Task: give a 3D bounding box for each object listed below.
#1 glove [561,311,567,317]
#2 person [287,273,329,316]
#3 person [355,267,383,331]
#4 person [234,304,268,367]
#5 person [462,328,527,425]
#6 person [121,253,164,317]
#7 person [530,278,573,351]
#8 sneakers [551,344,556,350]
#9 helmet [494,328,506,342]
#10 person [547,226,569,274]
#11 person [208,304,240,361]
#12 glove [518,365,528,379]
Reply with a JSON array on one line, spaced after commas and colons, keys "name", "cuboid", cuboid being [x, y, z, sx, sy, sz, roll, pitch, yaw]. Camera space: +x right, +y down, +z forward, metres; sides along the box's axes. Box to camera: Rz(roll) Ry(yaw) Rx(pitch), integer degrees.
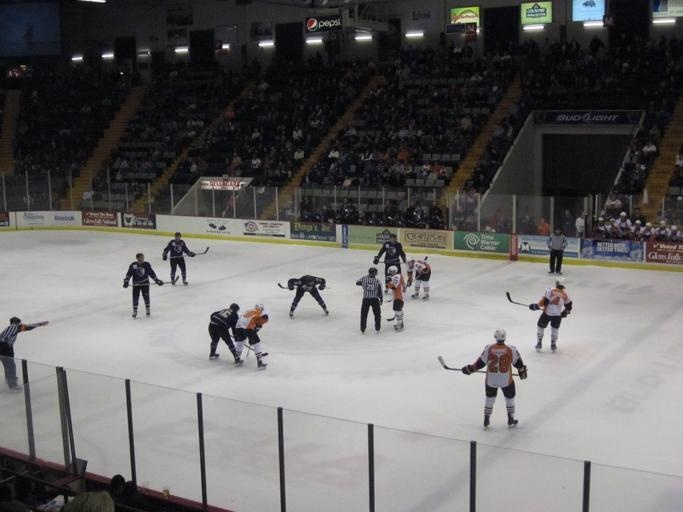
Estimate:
[{"name": "glove", "cuboid": [5.129, 1.327, 19.028, 0.130, 0.130, 0.116, -11, 15, -33]}, {"name": "person", "cuboid": [-0.900, 1.019, 22.110, 1.103, 1.468, 0.891, -5, 37, -13]}, {"name": "person", "cuboid": [0.709, 1.070, 20.982, 0.594, 1.695, 1.225, -1, 12, 1]}, {"name": "person", "cuboid": [-2.087, 1.874, 19.013, 0.712, 1.331, 0.661, 25, 33, 26]}, {"name": "person", "cuboid": [3.033, 2.287, 15.888, 0.894, 1.870, 0.917, 7, 15, 34]}, {"name": "person", "cuboid": [-5.851, 0.914, 24.380, 1.324, 2.311, 0.717, -10, 34, -27]}, {"name": "person", "cuboid": [4.877, 1.377, 19.225, 0.812, 1.739, 0.991, 2, 12, 15]}, {"name": "sneakers", "cuboid": [4.949, 2.128, 19.376, 0.116, 0.181, 0.106, -4, 5, 1]}, {"name": "helmet", "cuboid": [2.975, 1.503, 15.659, 0.178, 0.235, 0.237, 8, 15, 21]}, {"name": "person", "cuboid": [6.995, -0.170, 26.949, 0.542, 1.447, 0.665, 2, 13, 16]}, {"name": "person", "cuboid": [-2.710, 1.827, 19.133, 0.626, 1.241, 0.708, 30, 33, 30]}, {"name": "glove", "cuboid": [3.520, 2.219, 15.919, 0.167, 0.235, 0.302, 0, 4, 3]}]
